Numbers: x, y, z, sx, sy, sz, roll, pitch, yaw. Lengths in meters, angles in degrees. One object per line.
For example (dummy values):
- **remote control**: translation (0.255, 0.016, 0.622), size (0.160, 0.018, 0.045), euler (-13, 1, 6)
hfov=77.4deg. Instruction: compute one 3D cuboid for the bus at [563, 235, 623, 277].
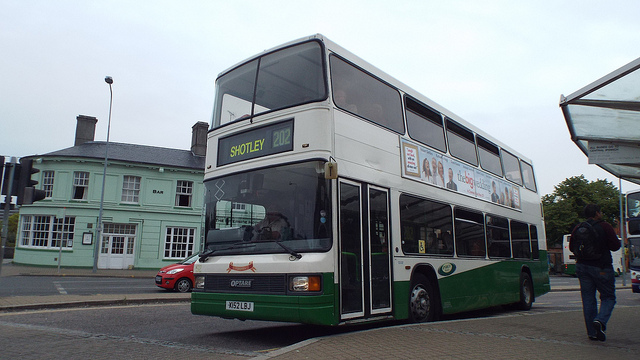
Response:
- **bus**: translation (38.382, 10.642, 53.688), size (2.845, 4.170, 9.092), euler (-7, -16, 43)
